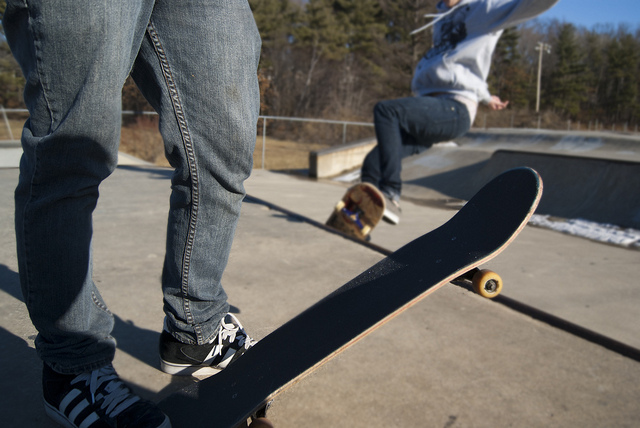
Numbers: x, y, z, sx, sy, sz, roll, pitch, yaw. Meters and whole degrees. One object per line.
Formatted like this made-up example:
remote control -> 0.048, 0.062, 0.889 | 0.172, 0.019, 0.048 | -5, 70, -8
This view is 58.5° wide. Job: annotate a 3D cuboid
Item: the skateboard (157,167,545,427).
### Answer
skateboard -> 0.137, 0.398, 2.545 | 1.434, 0.211, 0.348 | -36, 27, -8
